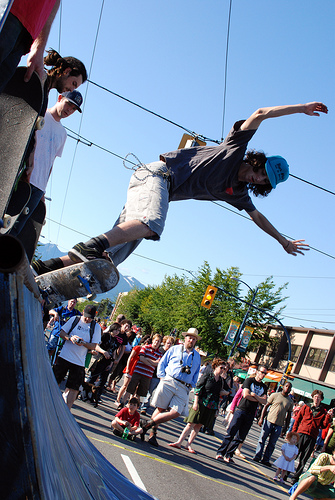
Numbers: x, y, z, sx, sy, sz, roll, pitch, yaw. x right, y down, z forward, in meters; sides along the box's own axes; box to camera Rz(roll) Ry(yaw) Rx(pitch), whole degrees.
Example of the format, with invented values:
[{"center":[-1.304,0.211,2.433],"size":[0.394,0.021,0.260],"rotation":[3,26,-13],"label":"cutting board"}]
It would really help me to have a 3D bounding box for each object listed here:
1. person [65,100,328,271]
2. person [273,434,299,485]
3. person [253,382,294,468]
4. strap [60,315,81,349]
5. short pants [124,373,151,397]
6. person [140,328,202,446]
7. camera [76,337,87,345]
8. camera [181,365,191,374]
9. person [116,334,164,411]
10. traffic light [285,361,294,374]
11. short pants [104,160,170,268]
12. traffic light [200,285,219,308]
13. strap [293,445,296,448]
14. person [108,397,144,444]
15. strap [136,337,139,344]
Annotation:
[{"center":[0.211,-0.570,3.089],"size":[0.769,1.504,0.977],"rotation":[47,-39,12],"label":"person"},{"center":[2.971,5.162,8.981],"size":[0.460,1.002,1.189],"rotation":[23,-7,29],"label":"person"},{"center":[2.965,4.737,9.983],"size":[0.790,2.236,0.520],"rotation":[14,-19,31],"label":"person"},{"center":[-1.785,1.430,6.976],"size":[0.095,0.585,0.268],"rotation":[27,-6,-8],"label":"strap"},{"center":[-0.742,3.339,9.033],"size":[0.568,0.554,0.312],"rotation":[26,-10,-18],"label":"short pants"},{"center":[0.081,2.771,7.425],"size":[0.778,2.337,0.844],"rotation":[30,-7,-36],"label":"person"},{"center":[-1.594,1.694,6.742],"size":[0.067,0.137,0.238],"rotation":[21,-8,38],"label":"camera"},{"center":[0.366,2.402,7.330],"size":[0.144,0.147,0.052],"rotation":[1,-17,-7],"label":"camera"},{"center":[-0.592,3.029,9.223],"size":[0.621,1.963,0.625],"rotation":[20,-6,2],"label":"person"},{"center":[7.725,7.525,23.186],"size":[0.261,0.677,0.723],"rotation":[23,-6,23],"label":"traffic light"},{"center":[-0.228,-0.274,2.861],"size":[0.290,1.012,0.449],"rotation":[43,-56,-18],"label":"short pants"},{"center":[2.555,2.828,22.294],"size":[0.634,1.292,1.652],"rotation":[25,-6,8],"label":"traffic light"},{"center":[3.251,5.012,9.305],"size":[0.024,0.044,0.233],"rotation":[23,-6,24],"label":"strap"},{"center":[-0.765,3.214,6.995],"size":[0.552,0.758,0.502],"rotation":[19,-17,-16],"label":"person"},{"center":[-1.059,3.138,12.626],"size":[0.067,0.191,0.211],"rotation":[4,3,-11],"label":"strap"}]
